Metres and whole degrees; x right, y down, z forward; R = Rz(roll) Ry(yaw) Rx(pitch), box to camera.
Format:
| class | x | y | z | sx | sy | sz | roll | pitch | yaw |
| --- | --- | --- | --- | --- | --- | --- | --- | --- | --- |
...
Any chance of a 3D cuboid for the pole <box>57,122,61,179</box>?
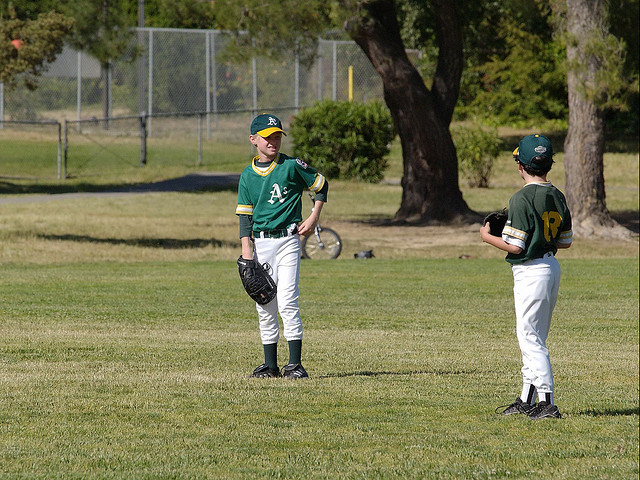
| class | x | y | z | sx | sy | sz | roll | pitch | yaw |
| --- | --- | --- | --- | --- | --- | --- | --- | --- | --- |
| pole | -4.562 | -1.631 | 29.134 | 0.063 | 0.960 | 0.175 | -1 | 10 | -9 |

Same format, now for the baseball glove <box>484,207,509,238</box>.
| class | x | y | z | sx | sy | sz | roll | pitch | yaw |
| --- | --- | --- | --- | --- | --- | --- | --- | --- | --- |
| baseball glove | 2.360 | -0.272 | 21.673 | 0.266 | 0.376 | 0.362 | 20 | 13 | 15 |

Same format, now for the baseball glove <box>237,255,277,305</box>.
| class | x | y | z | sx | sy | sz | roll | pitch | yaw |
| --- | --- | --- | --- | --- | --- | --- | --- | --- | --- |
| baseball glove | -0.821 | 0.521 | 22.609 | 0.569 | 0.634 | 0.229 | 2 | 10 | 6 |

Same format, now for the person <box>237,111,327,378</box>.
| class | x | y | z | sx | sy | sz | roll | pitch | yaw |
| --- | --- | --- | --- | --- | --- | --- | --- | --- | --- |
| person | -0.536 | 0.050 | 22.640 | 1.124 | 3.556 | 0.607 | 1 | 10 | -2 |

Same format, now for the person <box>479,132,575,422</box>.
| class | x | y | z | sx | sy | sz | roll | pitch | yaw |
| --- | --- | --- | --- | --- | --- | --- | --- | --- | --- |
| person | 2.781 | 0.440 | 21.472 | 0.962 | 3.606 | 0.830 | 3 | 10 | 9 |

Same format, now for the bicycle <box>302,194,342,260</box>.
| class | x | y | z | sx | sy | sz | roll | pitch | yaw |
| --- | --- | --- | --- | --- | --- | --- | --- | --- | --- |
| bicycle | 0.067 | -0.272 | 31.124 | 0.626 | 1.149 | 0.715 | 3 | 11 | 6 |
